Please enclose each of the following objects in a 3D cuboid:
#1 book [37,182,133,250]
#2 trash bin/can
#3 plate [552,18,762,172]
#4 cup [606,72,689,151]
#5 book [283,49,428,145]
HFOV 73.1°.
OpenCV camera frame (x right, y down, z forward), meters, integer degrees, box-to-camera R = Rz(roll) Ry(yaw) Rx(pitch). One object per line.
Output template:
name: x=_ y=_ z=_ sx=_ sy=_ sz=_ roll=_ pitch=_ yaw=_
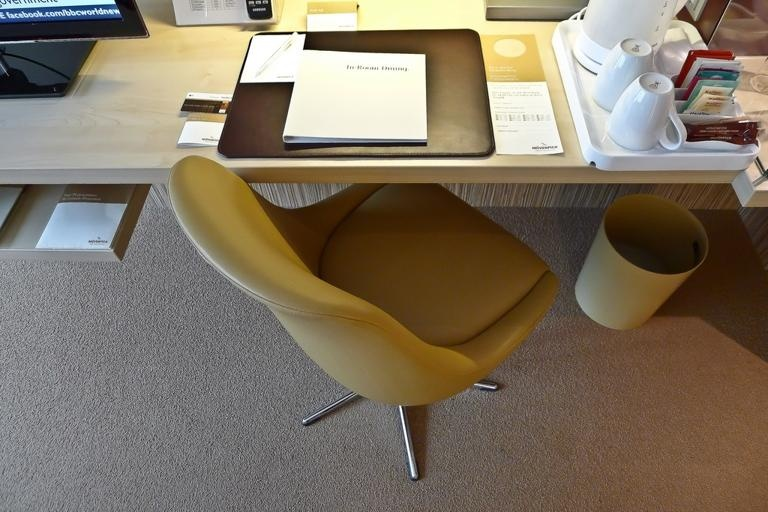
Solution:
book: x=-0.840 y=-0.114 z=1.469 sx=0.233 sy=0.034 sz=0.216 roll=3 pitch=61 yaw=7
trash bin/can: x=0.888 y=0.034 z=1.767 sx=0.285 sy=0.319 sz=0.285 roll=33 pitch=56 yaw=11
plate: x=0.640 y=-0.347 z=1.202 sx=0.380 sy=0.053 sz=0.381 roll=-5 pitch=63 yaw=-6
cup: x=0.613 y=-0.333 z=1.211 sx=0.089 sy=0.119 sz=0.138 roll=-23 pitch=63 yaw=-12
book: x=-0.064 y=-0.413 z=1.341 sx=0.354 sy=0.051 sz=0.302 roll=1 pitch=60 yaw=5
